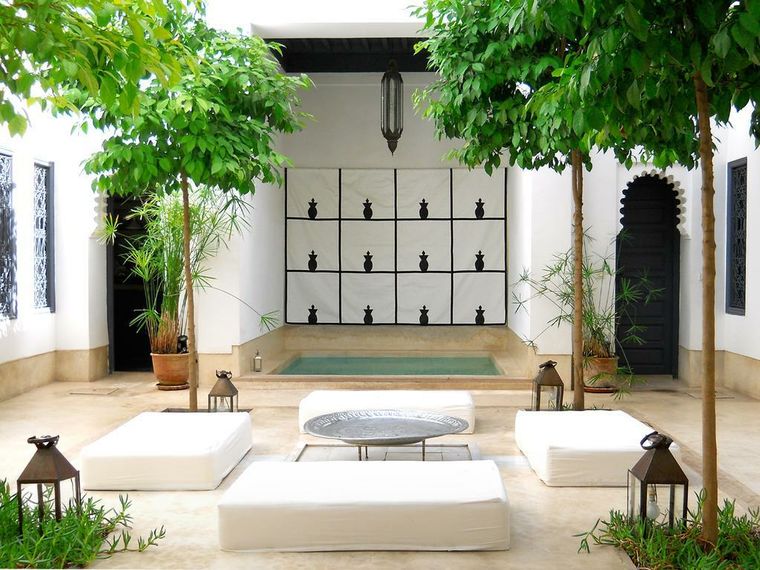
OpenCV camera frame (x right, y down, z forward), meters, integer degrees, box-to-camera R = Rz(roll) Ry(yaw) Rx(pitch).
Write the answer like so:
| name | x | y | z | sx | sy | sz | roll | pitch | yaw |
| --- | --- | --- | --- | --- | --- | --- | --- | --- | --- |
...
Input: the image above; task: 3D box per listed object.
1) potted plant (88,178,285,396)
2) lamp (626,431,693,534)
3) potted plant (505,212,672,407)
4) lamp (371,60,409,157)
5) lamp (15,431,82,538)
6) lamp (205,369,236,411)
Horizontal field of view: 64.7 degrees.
| name | x | y | z | sx | sy | sz | roll | pitch | yaw |
| --- | --- | --- | --- | --- | --- | --- | --- | --- | --- |
| potted plant | -2.288 | 0.260 | 7.119 | 1.310 | 2.064 | 1.673 | -2 | 11 | 2 |
| lamp | 1.367 | 0.950 | 2.945 | 0.375 | 0.450 | 0.391 | 1 | 8 | 17 |
| potted plant | 2.669 | 0.271 | 7.680 | 1.705 | 2.364 | 1.956 | -1 | 1 | -26 |
| lamp | 0.135 | -1.832 | 6.126 | 0.220 | 0.943 | 0.361 | -1 | 2 | -2 |
| lamp | -1.696 | 0.981 | 3.077 | 0.290 | 0.457 | 0.347 | -2 | 3 | -29 |
| lamp | -1.348 | 0.916 | 5.149 | 0.253 | 0.366 | 0.257 | 8 | 11 | 10 |
